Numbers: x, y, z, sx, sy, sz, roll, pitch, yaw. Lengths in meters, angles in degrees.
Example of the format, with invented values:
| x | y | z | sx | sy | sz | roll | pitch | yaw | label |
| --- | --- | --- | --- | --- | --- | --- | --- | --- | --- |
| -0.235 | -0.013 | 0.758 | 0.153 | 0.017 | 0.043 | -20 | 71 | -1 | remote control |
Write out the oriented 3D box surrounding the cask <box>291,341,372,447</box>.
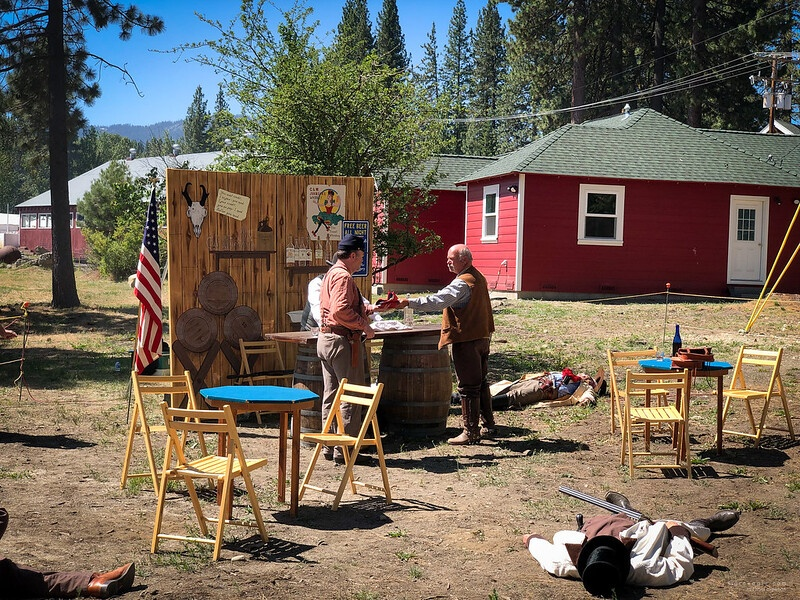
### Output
| x | y | z | sx | sy | sz | roll | pitch | yaw | label |
| --- | --- | --- | --- | --- | --- | --- | --- | --- | --- |
| -0.893 | 1.241 | 12.595 | 0.842 | 1.325 | 0.884 | 0 | 7 | -30 | cask |

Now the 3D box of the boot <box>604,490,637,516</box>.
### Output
| x | y | z | sx | sy | sz | roll | pitch | yaw | label |
| --- | --- | --- | --- | --- | --- | --- | --- | --- | --- |
| 2.469 | 2.278 | 10.360 | 0.148 | 0.131 | 0.383 | 1 | 10 | -23 | boot |

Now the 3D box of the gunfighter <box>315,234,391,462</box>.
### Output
| x | y | z | sx | sy | sz | roll | pitch | yaw | label |
| --- | --- | --- | --- | --- | --- | --- | --- | --- | --- |
| -0.624 | 0.440 | 11.568 | 1.692 | 2.024 | 0.645 | 0 | 1 | -7 | gunfighter |

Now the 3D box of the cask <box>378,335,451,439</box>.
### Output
| x | y | z | sx | sy | sz | roll | pitch | yaw | label |
| --- | --- | --- | --- | --- | --- | --- | --- | --- | --- |
| 0.212 | 1.193 | 13.274 | 1.029 | 1.446 | 1.001 | 0 | 2 | -12 | cask |

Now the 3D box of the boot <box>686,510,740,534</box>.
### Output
| x | y | z | sx | sy | sz | roll | pitch | yaw | label |
| --- | --- | --- | --- | --- | --- | --- | --- | --- | --- |
| 3.464 | 2.389 | 10.088 | 0.621 | 0.231 | 0.269 | -10 | 3 | -2 | boot |

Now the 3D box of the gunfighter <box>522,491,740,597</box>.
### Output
| x | y | z | sx | sy | sz | roll | pitch | yaw | label |
| --- | --- | --- | --- | --- | --- | --- | --- | --- | --- |
| 2.370 | 2.585 | 9.394 | 2.057 | 0.679 | 1.652 | 2 | 2 | 10 | gunfighter |

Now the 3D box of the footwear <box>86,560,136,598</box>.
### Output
| x | y | z | sx | sy | sz | roll | pitch | yaw | label |
| --- | --- | --- | --- | --- | --- | --- | --- | --- | --- |
| -2.741 | 2.705 | 8.875 | 0.218 | 0.195 | 0.531 | 3 | 4 | 17 | footwear |
